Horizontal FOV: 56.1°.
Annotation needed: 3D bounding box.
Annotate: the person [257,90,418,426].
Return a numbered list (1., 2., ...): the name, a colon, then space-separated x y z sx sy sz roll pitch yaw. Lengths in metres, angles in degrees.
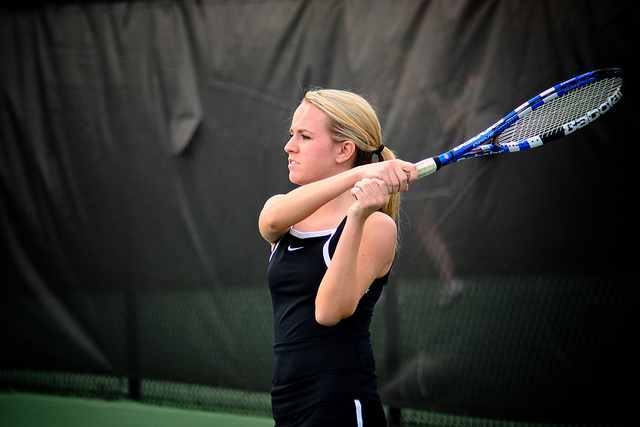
1. person: 0.087 0.170 2.794 0.715 1.580 0.426 -3 -11 -7

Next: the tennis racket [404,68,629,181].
1. tennis racket: 1.191 -0.512 3.471 1.172 0.318 0.089 -29 -33 15
